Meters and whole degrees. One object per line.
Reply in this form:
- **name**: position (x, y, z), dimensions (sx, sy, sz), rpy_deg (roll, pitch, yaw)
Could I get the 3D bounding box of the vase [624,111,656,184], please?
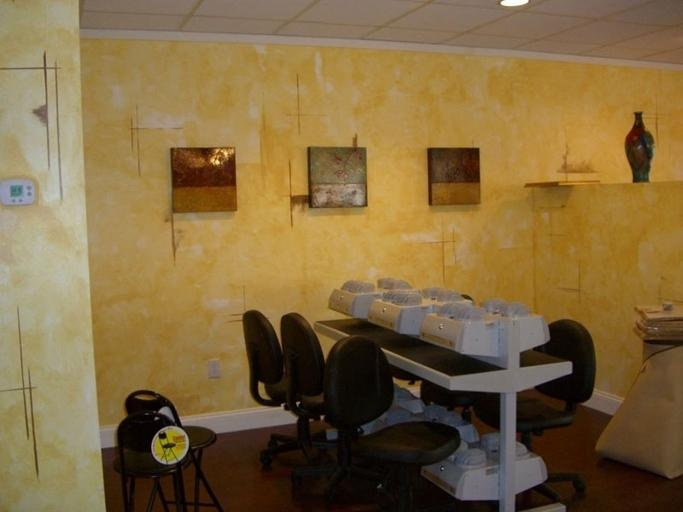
- **vase**: position (2.455, -0.900, 4.963), dimensions (0.212, 0.591, 0.342), rpy_deg (3, 7, 25)
